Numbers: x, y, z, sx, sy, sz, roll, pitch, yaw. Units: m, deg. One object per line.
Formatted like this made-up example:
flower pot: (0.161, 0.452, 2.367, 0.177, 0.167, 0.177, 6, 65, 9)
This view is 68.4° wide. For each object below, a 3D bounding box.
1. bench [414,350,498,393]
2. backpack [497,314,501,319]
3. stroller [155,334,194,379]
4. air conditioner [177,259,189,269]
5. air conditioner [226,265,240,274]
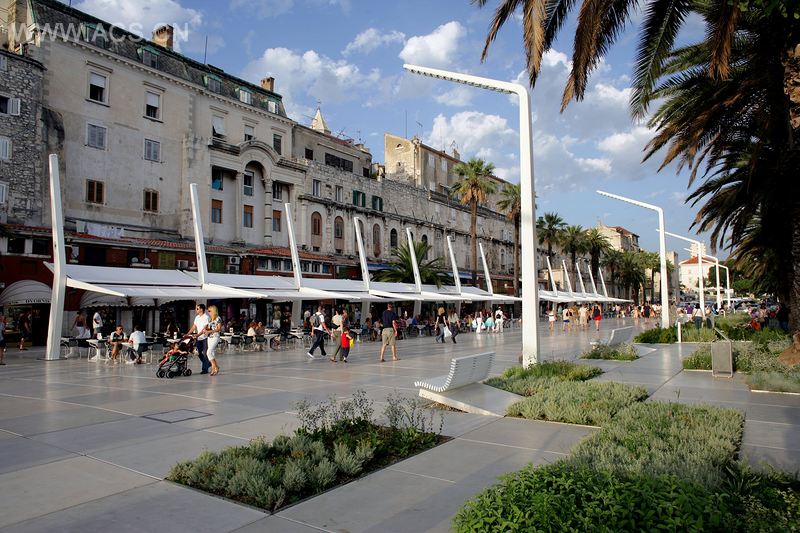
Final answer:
bench: (1.441, 2.738, 15.241, 0.948, 0.893, 2.275, -9, -11, 39)
backpack: (6.943, 3.511, 41.857, 0.230, 0.163, 0.246, 0, -18, -2)
stroller: (-7.318, 2.851, 19.461, 1.001, 1.242, 0.913, 0, 15, -15)
air conditioner: (-13.960, -0.162, 37.820, 0.465, 0.633, 0.698, -5, -8, 35)
air conditioner: (-11.621, 0.127, 41.001, 0.473, 0.674, 0.865, -5, -5, 34)
